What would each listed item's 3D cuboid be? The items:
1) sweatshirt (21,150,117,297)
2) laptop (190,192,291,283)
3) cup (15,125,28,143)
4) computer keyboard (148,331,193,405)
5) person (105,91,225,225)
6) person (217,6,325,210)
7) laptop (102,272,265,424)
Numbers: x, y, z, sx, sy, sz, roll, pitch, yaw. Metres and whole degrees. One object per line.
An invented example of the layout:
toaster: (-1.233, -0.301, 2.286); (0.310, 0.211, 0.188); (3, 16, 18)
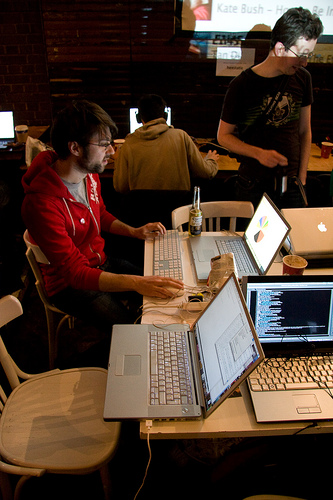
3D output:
sweatshirt: (-0.487, -0.117, 1.787); (0.403, 0.650, 0.669); (1, 30, -3)
laptop: (0.301, -0.072, 1.615); (0.385, 0.259, 0.445); (2, 25, 1)
cup: (-1.367, -1.100, 3.401); (0.115, 0.141, 0.284); (-10, 33, -20)
computer keyboard: (0.008, 0.360, 1.159); (0.170, 0.023, 0.430); (1, 18, -2)
person: (-0.012, -0.518, 2.752); (0.695, 1.248, 0.458); (-2, 38, 4)
person: (0.588, -0.734, 2.011); (0.577, 1.040, 0.573); (6, 31, 7)
laptop: (0.029, 0.262, 1.045); (0.399, 0.267, 0.365); (6, 33, -2)
